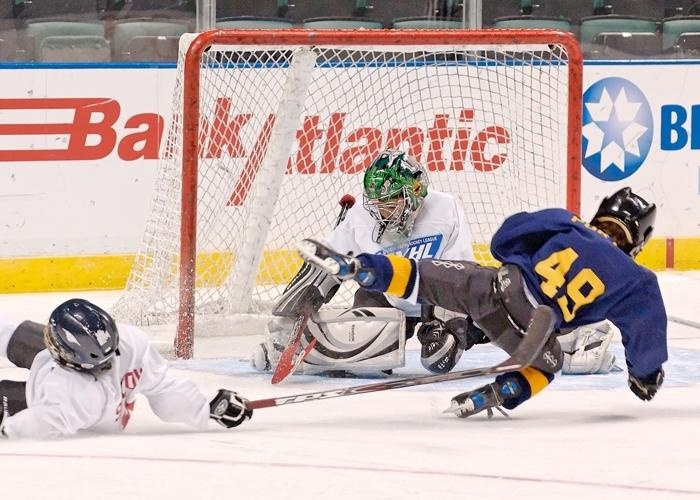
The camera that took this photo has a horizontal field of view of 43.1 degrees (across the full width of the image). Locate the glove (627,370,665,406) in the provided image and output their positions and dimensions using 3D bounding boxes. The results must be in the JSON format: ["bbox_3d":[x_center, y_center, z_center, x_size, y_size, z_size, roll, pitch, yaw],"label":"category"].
[{"bbox_3d":[1.171,0.539,3.511,0.156,0.050,0.128,-24,-4,20],"label":"glove"}]

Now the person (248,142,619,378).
[{"bbox_3d":[0.366,0.053,4.141,1.686,0.897,0.876,0,18,19],"label":"person"}]

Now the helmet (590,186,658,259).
[{"bbox_3d":[1.259,-0.155,4.037,0.226,0.294,0.296,43,-6,26],"label":"helmet"}]

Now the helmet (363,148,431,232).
[{"bbox_3d":[0.241,-0.263,4.136,0.342,0.367,0.370,4,-27,16],"label":"helmet"}]

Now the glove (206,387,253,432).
[{"bbox_3d":[-0.456,0.617,3.461,0.240,0.095,0.180,3,6,-41],"label":"glove"}]
